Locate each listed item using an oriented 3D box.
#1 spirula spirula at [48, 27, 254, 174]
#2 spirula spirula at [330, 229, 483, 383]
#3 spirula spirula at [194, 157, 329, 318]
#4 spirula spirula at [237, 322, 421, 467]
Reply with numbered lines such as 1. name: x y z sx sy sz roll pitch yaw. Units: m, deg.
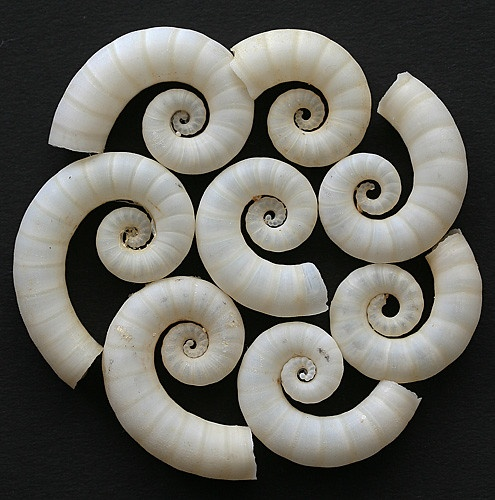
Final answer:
1. spirula spirula: -0.197 -0.318 1.472 0.415 0.147 0.264 6 68 7
2. spirula spirula: 0.309 0.167 1.481 0.235 0.085 0.324 -44 48 -2
3. spirula spirula: 0.024 -0.020 1.476 0.260 0.174 0.311 -5 67 3
4. spirula spirula: 0.141 0.314 1.439 0.343 0.122 0.252 31 73 16
